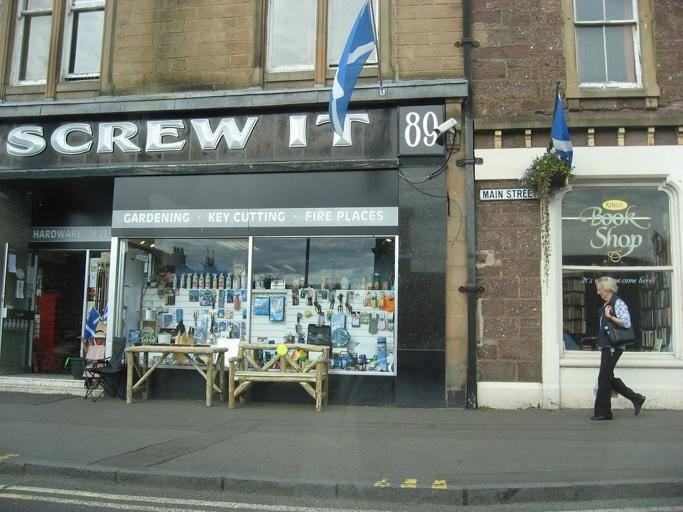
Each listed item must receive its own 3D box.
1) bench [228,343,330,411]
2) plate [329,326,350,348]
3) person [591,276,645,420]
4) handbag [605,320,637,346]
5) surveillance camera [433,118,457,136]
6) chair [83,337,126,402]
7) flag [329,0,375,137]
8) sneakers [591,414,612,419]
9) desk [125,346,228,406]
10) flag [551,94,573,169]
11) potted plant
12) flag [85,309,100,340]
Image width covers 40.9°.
[{"bbox_3d":[-1.182,2.241,17.156,1.841,1.210,1.361,1,-7,2],"label":"bench"},{"bbox_3d":[-0.029,1.590,17.716,0.361,0.377,0.101,1,-7,-2],"label":"plate"},{"bbox_3d":[4.792,1.611,16.101,0.850,2.520,0.551,0,-7,9],"label":"person"},{"bbox_3d":[4.851,1.347,16.020,0.535,0.362,0.192,2,-15,-29],"label":"handbag"},{"bbox_3d":[1.925,-2.428,17.189,0.228,0.089,0.392,-43,15,-29],"label":"surveillance camera"},{"bbox_3d":[-4.652,2.196,17.921,0.756,1.222,1.056,3,-7,-15],"label":"chair"},{"bbox_3d":[0.193,-3.465,16.766,0.826,2.433,0.555,1,-7,-1],"label":"flag"},{"bbox_3d":[4.478,2.806,15.778,0.294,0.121,0.117,-4,-4,8],"label":"sneakers"},{"bbox_3d":[-3.188,2.299,17.501,1.741,0.994,0.860,0,-7,7],"label":"desk"},{"bbox_3d":[4.061,-2.382,16.947,0.346,1.498,0.578,-2,-8,27],"label":"flag"},{"bbox_3d":[3.788,-0.738,16.821,0.747,2.460,0.619,3,-7,-12],"label":"potted plant"},{"bbox_3d":[-5.226,1.416,19.091,0.276,0.697,0.466,1,-7,6],"label":"flag"}]
